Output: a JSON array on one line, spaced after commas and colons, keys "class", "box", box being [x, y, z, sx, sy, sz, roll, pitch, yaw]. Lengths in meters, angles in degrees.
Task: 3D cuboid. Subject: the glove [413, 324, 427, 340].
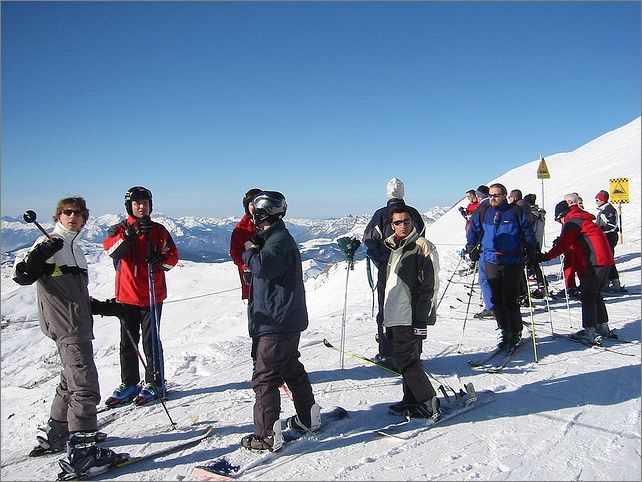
[{"class": "glove", "box": [1.410, 1.258, 6.605, 0.236, 0.198, 0.125, -4, 2, -42]}]

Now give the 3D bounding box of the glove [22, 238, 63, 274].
[{"class": "glove", "box": [-3.637, 0.176, 6.228, 0.344, 0.463, 0.329, -2, 2, 33]}]

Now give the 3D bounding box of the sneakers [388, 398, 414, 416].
[{"class": "sneakers", "box": [1.182, 2.430, 6.998, 0.417, 0.199, 0.161, -5, -2, 20]}]

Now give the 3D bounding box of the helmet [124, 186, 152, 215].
[{"class": "helmet", "box": [-2.952, -0.654, 7.691, 0.376, 0.426, 0.582, -3, 2, -24]}]

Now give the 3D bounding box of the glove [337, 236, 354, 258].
[{"class": "glove", "box": [0.437, 0.088, 8.450, 0.282, 0.373, 0.158, 0, 10, 17]}]

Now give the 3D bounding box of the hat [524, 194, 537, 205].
[{"class": "hat", "box": [5.350, -1.094, 12.163, 0.292, 0.258, 0.351, -2, -12, 8]}]

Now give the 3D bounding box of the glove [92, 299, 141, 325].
[{"class": "glove", "box": [-3.264, 1.114, 7.543, 0.238, 0.333, 1.057, 7, -12, 24]}]

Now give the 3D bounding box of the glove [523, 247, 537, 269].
[{"class": "glove", "box": [3.827, 0.279, 8.670, 0.177, 0.362, 0.316, -2, 2, 39]}]

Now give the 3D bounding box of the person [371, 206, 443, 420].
[{"class": "person", "box": [1.281, 1.025, 6.724, 0.785, 3.032, 0.412, -2, 2, 13]}]

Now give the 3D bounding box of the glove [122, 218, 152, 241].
[{"class": "glove", "box": [-2.968, -0.204, 7.677, 0.432, 0.339, 0.290, -3, 2, -14]}]

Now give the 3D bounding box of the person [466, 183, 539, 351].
[{"class": "person", "box": [3.434, 0.477, 8.973, 0.583, 3.100, 1.142, -4, 2, -27]}]

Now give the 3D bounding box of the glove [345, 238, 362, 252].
[{"class": "glove", "box": [0.507, 0.062, 8.417, 0.376, 0.185, 0.515, -3, 2, 7]}]

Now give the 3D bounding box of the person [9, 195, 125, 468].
[{"class": "person", "box": [-3.464, 1.169, 6.380, 1.081, 3.742, 1.113, -4, 2, -33]}]

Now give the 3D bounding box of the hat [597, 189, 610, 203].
[{"class": "hat", "box": [7.343, -1.165, 12.342, 0.358, 0.222, 0.262, 5, 4, -6]}]

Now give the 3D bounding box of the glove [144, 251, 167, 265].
[{"class": "glove", "box": [-2.701, 0.266, 7.803, 0.179, 0.217, 0.380, -2, 2, 22]}]

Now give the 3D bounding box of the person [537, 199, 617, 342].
[{"class": "person", "box": [4.995, 0.629, 9.040, 1.175, 2.597, 0.606, -2, 2, 14]}]

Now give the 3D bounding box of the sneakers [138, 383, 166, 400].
[{"class": "sneakers", "box": [-2.851, 2.481, 7.917, 0.613, 0.284, 0.198, 16, -24, -33]}]

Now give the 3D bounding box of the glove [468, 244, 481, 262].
[{"class": "glove", "box": [3.036, 0.220, 9.381, 0.225, 0.299, 0.296, 0, -3, 21]}]

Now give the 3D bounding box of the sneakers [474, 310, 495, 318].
[{"class": "sneakers", "box": [3.816, 1.704, 11.294, 0.552, 0.247, 0.184, -1, -3, 13]}]
